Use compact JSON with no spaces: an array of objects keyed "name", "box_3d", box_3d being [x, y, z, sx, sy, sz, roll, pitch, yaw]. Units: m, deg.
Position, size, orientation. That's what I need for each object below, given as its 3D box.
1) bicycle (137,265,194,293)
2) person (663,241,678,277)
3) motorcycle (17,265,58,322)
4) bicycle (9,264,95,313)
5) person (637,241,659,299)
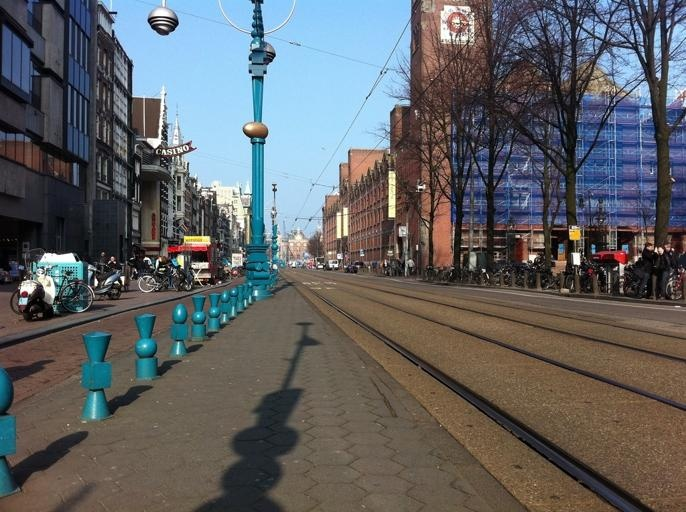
[{"name":"bicycle","box_3d":[-7.383,1.011,27.446,2.117,1.442,0.958,-4,1,-23]},{"name":"person","box_3d":[10.064,0.108,20.467,0.284,0.990,0.474,-6,4,39]},{"name":"motorcycle","box_3d":[-6.871,0.871,14.785,0.610,1.020,1.238,0,0,-12]},{"name":"bicycle","box_3d":[-7.030,0.892,15.446,0.940,1.318,1.914,-3,4,6]},{"name":"person","box_3d":[9.749,0.479,21.094,0.510,1.776,1.098,0,0,20]}]
